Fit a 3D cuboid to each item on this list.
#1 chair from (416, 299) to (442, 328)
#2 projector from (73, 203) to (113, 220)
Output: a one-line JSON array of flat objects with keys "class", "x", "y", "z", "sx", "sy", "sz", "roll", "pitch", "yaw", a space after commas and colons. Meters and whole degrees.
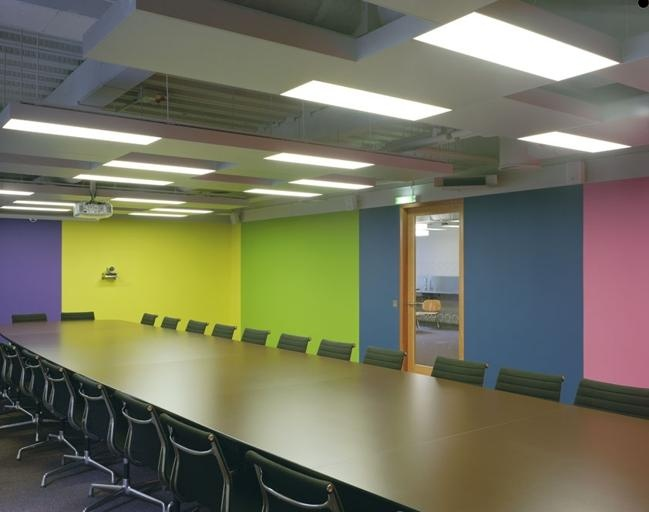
[{"class": "chair", "x": 1.693, "y": 0.875, "z": 7.740, "sx": 0.364, "sy": 0.551, "sz": 0.381, "roll": -2, "pitch": -4, "yaw": 23}, {"class": "projector", "x": -3.088, "y": -0.619, "z": 6.720, "sx": 0.438, "sy": 0.224, "sz": 0.297, "roll": -1, "pitch": 2, "yaw": -12}]
